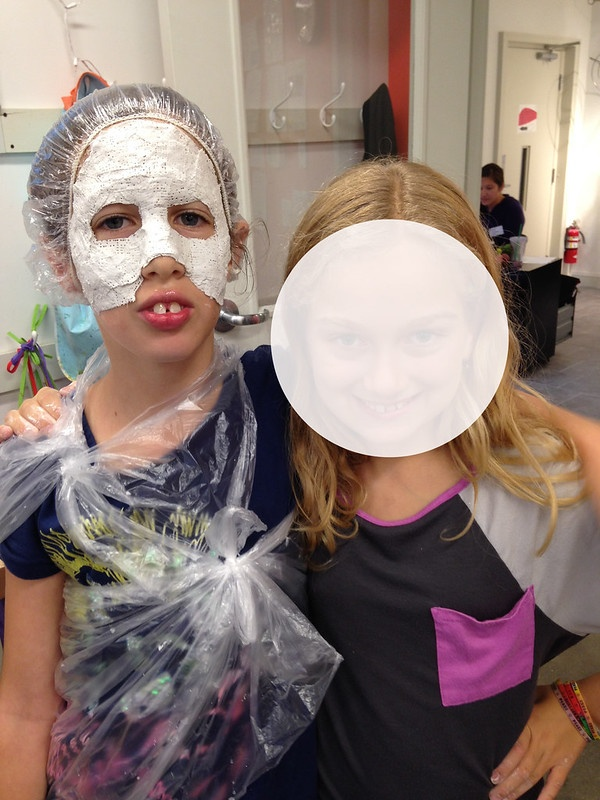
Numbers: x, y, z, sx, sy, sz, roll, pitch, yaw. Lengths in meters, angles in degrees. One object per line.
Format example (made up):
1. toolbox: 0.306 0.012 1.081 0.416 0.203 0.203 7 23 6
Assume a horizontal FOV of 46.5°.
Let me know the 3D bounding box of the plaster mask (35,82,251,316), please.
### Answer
1. plaster mask: -0.182 -0.247 0.939 0.269 0.257 0.284 -10 5 -16
